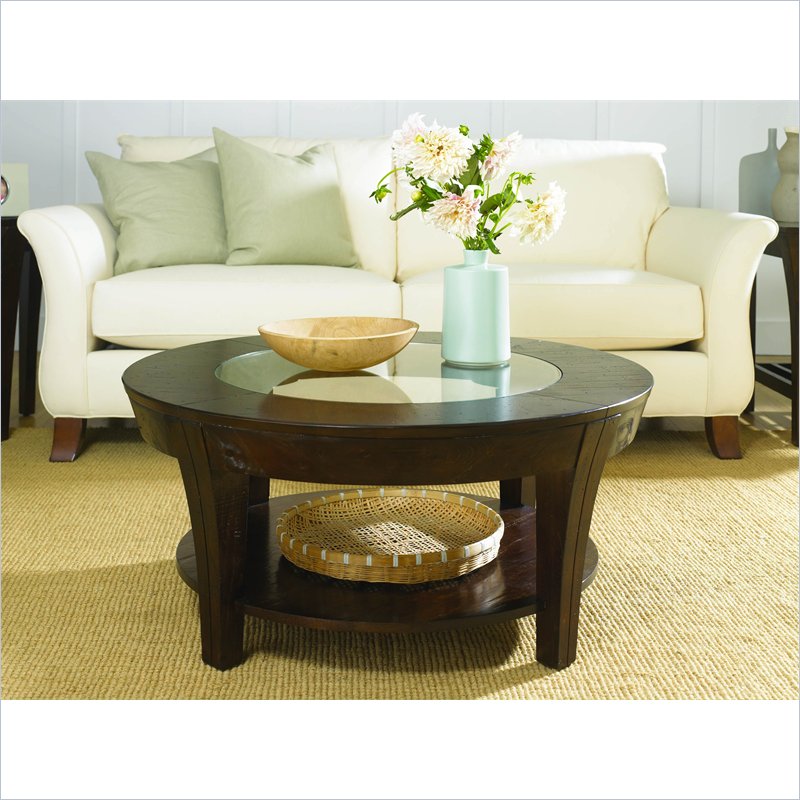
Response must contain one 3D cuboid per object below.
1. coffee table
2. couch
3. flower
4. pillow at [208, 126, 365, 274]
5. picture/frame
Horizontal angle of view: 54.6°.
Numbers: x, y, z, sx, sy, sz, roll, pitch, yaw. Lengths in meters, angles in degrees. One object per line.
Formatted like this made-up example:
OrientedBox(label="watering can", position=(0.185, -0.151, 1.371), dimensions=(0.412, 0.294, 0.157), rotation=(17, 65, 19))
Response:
OrientedBox(label="coffee table", position=(-0.053, 0.182, 1.397), dimensions=(0.941, 0.477, 0.630), rotation=(3, 13, 13))
OrientedBox(label="couch", position=(-0.016, -0.442, 2.853), dimensions=(2.513, 0.908, 0.855), rotation=(-1, 19, -5))
OrientedBox(label="flower", position=(0.131, -0.394, 1.496), dimensions=(0.351, 0.201, 0.286), rotation=(4, -3, 19))
OrientedBox(label="pillow", position=(-0.446, -0.750, 2.904), dimensions=(0.542, 0.414, 0.293), rotation=(-10, 34, -38))
OrientedBox(label="picture/frame", position=(0.161, -0.187, 1.533), dimensions=(0.150, 0.208, 0.153), rotation=(11, 20, 41))
